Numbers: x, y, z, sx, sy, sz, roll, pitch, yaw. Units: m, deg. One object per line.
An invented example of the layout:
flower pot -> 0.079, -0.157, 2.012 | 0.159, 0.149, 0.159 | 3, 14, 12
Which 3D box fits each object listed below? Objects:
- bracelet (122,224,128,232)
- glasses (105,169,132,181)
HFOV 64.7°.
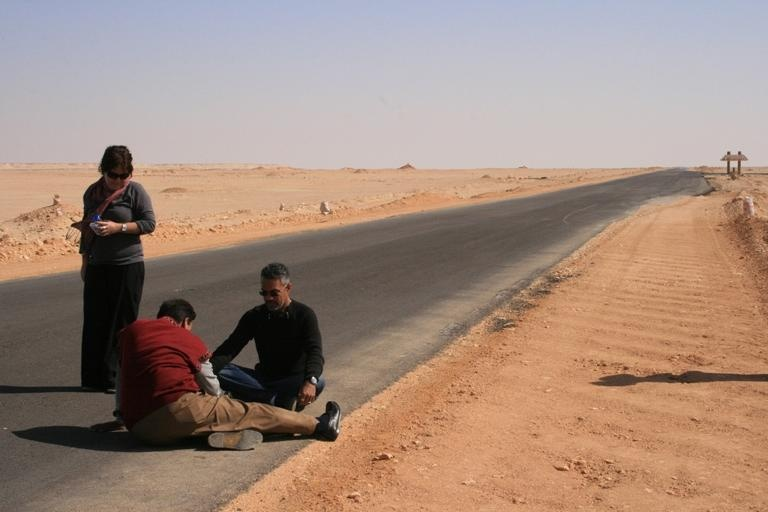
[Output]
bracelet -> -2.926, -0.317, 6.818 | 0.070, 0.095, 0.023 | -6, 14, -24
glasses -> -2.984, -0.915, 6.881 | 0.186, 0.093, 0.275 | 3, 9, 26
